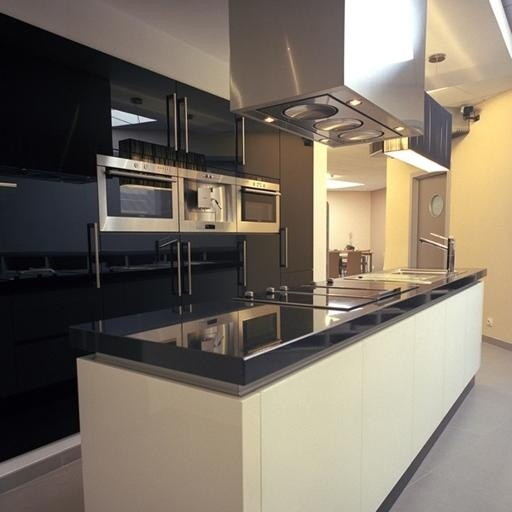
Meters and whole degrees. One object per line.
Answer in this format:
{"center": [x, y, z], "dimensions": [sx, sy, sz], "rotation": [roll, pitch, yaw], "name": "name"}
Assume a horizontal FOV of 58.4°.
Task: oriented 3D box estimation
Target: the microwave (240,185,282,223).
{"center": [0.036, -0.381, 3.725], "dimensions": [0.233, 0.246, 0.332], "rotation": [-1, 1, 36], "name": "microwave"}

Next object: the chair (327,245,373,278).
{"center": [2.248, 0.187, 11.009], "dimensions": [1.000, 0.703, 1.880], "rotation": [3, 5, 13], "name": "chair"}
